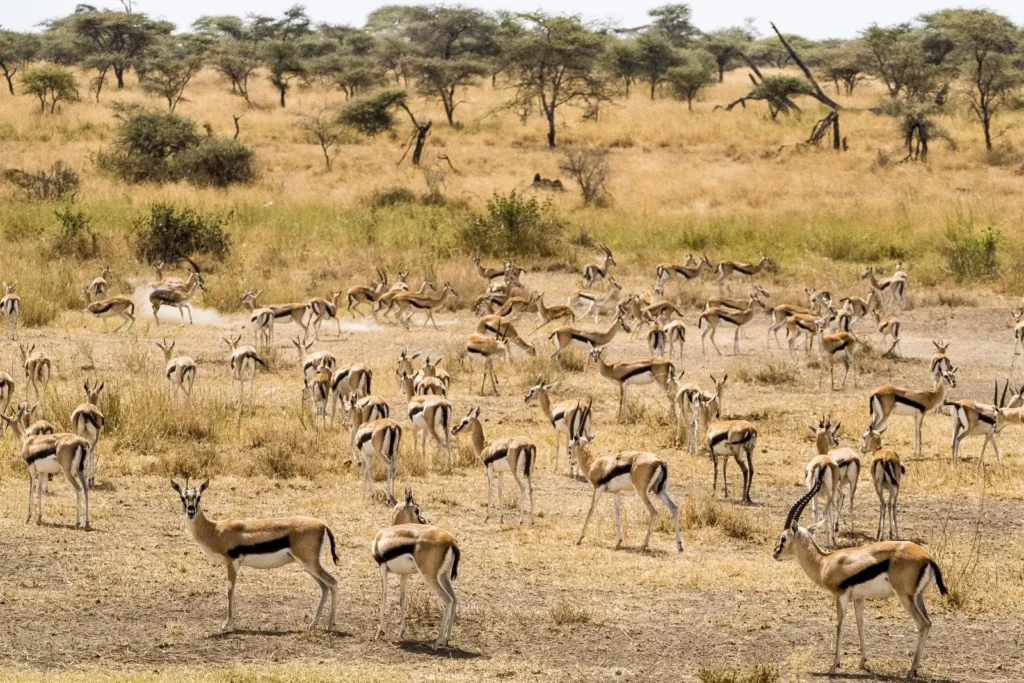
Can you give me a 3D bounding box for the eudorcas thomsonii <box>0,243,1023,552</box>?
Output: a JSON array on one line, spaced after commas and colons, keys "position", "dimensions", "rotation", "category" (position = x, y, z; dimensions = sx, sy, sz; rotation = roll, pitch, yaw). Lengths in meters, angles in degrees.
[{"position": [-0.021, 2.162, 44.438], "dimensions": [25.720, 6.246, 10.912], "rotation": [-1, -1, 2], "category": "eudorcas thomsonii"}]
